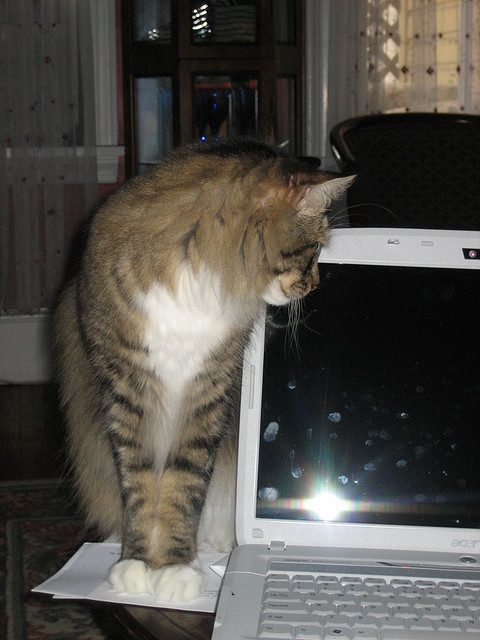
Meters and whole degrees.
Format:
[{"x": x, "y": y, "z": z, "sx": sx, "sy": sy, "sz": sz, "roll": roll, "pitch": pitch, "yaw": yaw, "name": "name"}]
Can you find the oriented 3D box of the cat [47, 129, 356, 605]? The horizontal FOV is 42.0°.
[{"x": -0.117, "y": 0.057, "z": 1.186, "sx": 0.420, "sy": 0.914, "sz": 0.374, "roll": 7, "pitch": 14, "yaw": 3, "name": "cat"}]
